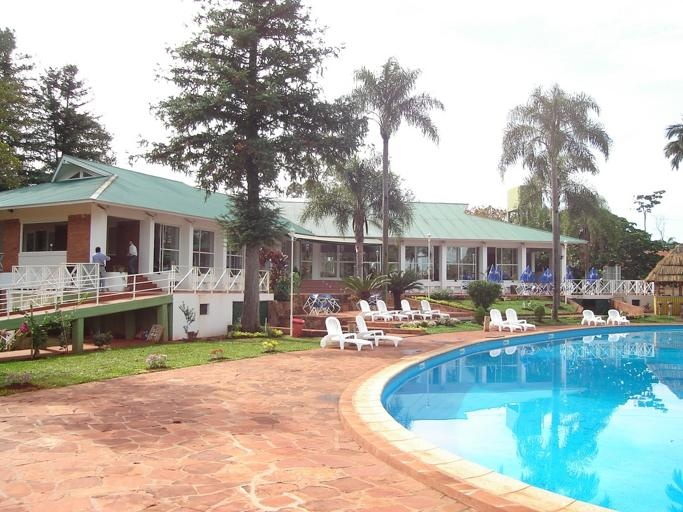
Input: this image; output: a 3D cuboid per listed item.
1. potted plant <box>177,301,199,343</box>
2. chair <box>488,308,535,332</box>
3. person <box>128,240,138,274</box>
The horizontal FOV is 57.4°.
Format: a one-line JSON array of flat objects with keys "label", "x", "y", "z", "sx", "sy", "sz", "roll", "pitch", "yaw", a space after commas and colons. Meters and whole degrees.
[{"label": "potted plant", "x": -6.197, "y": 2.627, "z": 25.286, "sx": 0.471, "sy": 1.501, "sz": 1.028, "roll": 5, "pitch": 6, "yaw": 20}, {"label": "chair", "x": 8.151, "y": 3.268, "z": 30.508, "sx": 1.426, "sy": 0.655, "sz": 1.352, "roll": 2, "pitch": -4, "yaw": -38}, {"label": "person", "x": -9.023, "y": 0.126, "z": 26.798, "sx": 0.400, "sy": 1.387, "sz": 1.591, "roll": 1, "pitch": 6, "yaw": -20}]
